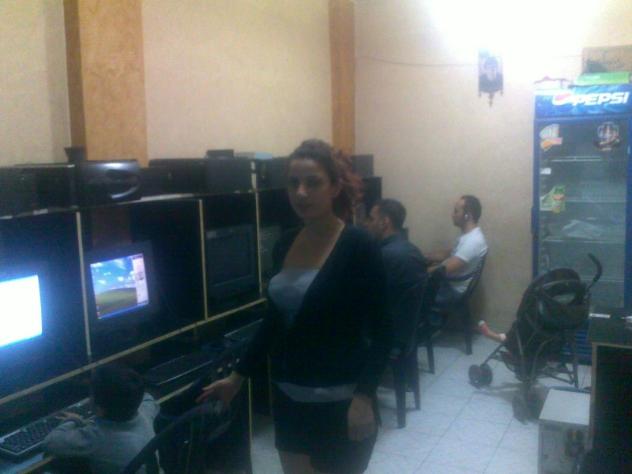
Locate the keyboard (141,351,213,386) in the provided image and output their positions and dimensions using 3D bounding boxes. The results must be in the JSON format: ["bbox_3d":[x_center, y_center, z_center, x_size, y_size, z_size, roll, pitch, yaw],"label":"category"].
[{"bbox_3d":[-0.797,0.723,3.057,0.450,0.073,0.259,5,3,-28],"label":"keyboard"}]

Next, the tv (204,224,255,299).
[{"bbox_3d":[-0.572,0.157,3.322,0.284,0.455,0.494,-3,-3,23],"label":"tv"}]

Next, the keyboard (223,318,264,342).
[{"bbox_3d":[-0.458,0.577,3.246,0.238,0.063,0.263,-9,10,21],"label":"keyboard"}]

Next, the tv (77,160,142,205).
[{"bbox_3d":[-1.096,-0.294,2.743,0.266,0.172,0.238,-1,19,-45],"label":"tv"}]

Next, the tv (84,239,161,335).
[{"bbox_3d":[-1.120,0.294,2.959,0.038,0.487,0.507,1,7,38],"label":"tv"}]

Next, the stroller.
[{"bbox_3d":[1.684,0.695,3.980,0.730,1.086,0.911,5,16,36],"label":"stroller"}]
